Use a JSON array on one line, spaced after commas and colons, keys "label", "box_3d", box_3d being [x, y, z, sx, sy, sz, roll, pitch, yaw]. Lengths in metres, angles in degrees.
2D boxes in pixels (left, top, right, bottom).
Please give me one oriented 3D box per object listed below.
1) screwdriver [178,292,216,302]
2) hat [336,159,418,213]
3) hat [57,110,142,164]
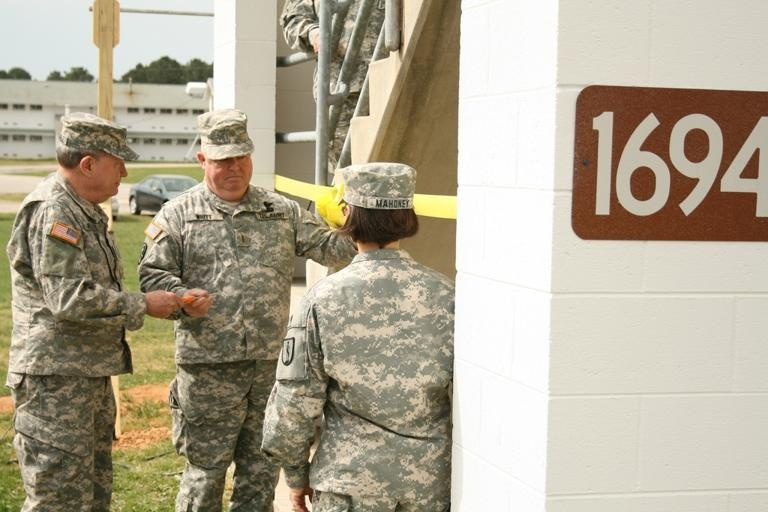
[{"label": "screwdriver", "box_3d": [-1.046, 0.208, 7.696, 0.224, 0.066, 0.052, -7, 5, -36]}, {"label": "hat", "box_3d": [-0.019, -0.346, 6.675, 0.281, 0.142, 0.229, 1, 5, 24]}, {"label": "hat", "box_3d": [-1.610, -0.678, 7.753, 0.383, 0.177, 0.266, 1, 14, -27]}]
